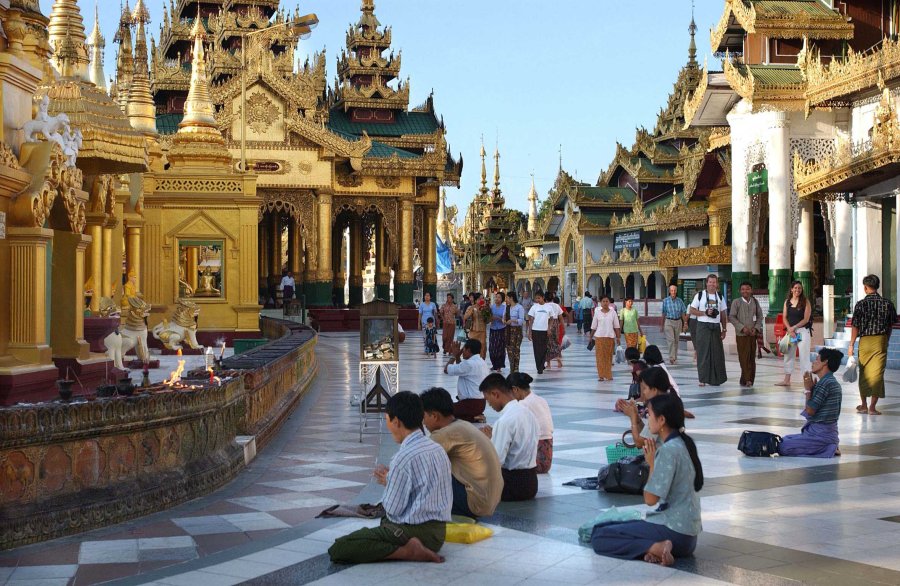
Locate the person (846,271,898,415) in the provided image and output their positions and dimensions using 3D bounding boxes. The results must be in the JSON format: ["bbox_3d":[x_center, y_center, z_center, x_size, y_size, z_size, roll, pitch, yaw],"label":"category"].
[{"bbox_3d":[6.708,0.823,15.088,0.645,2.221,1.034,-2,-3,25],"label":"person"}]

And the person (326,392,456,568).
[{"bbox_3d":[-0.606,1.797,9.336,1.151,1.531,1.279,-5,5,-18],"label":"person"}]

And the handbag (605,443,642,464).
[{"bbox_3d":[2.051,1.920,11.225,0.278,0.138,0.383,0,-3,-3],"label":"handbag"}]

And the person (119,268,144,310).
[{"bbox_3d":[-7.059,-0.079,21.133,0.534,0.844,0.541,2,9,-28],"label":"person"}]

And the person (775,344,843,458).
[{"bbox_3d":[4.715,1.434,12.601,0.908,1.453,0.960,5,-5,-33],"label":"person"}]

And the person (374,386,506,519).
[{"bbox_3d":[-0.156,2.062,10.057,1.358,1.929,0.830,-3,-9,12],"label":"person"}]

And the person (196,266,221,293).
[{"bbox_3d":[-6.609,-0.360,26.260,0.592,0.819,1.566,0,-3,-15],"label":"person"}]

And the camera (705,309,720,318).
[{"bbox_3d":[5.093,0.407,18.469,0.181,0.197,0.137,6,-5,-2],"label":"camera"}]

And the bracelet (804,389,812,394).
[{"bbox_3d":[4.670,1.306,12.404,0.081,0.027,0.083,-2,2,3],"label":"bracelet"}]

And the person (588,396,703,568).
[{"bbox_3d":[1.915,1.772,9.070,0.921,1.595,0.309,-1,-3,12],"label":"person"}]

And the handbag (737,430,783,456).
[{"bbox_3d":[4.006,1.966,12.304,0.397,0.175,0.319,2,5,2],"label":"handbag"}]
